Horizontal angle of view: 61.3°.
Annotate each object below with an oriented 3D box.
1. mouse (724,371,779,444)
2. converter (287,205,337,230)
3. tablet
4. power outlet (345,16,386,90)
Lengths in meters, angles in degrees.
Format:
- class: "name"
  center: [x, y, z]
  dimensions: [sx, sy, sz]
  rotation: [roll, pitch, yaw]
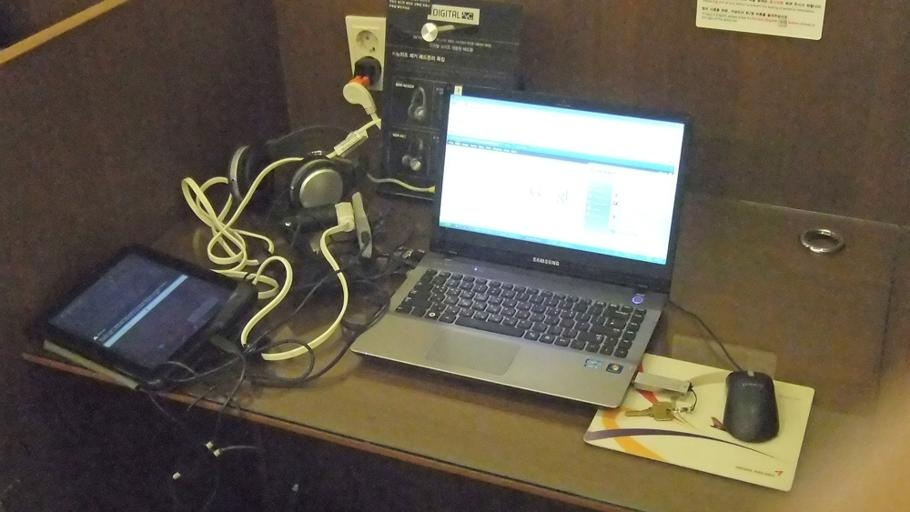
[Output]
- class: "mouse"
  center: [0.516, 0.261, 1.319]
  dimensions: [0.093, 0.052, 0.121]
  rotation: [11, 42, 9]
- class: "converter"
  center: [-0.288, -0.074, 1.551]
  dimensions: [0.094, 0.035, 0.049]
  rotation: [-2, 30, -3]
- class: "tablet"
  center: [-0.575, 0.118, 1.412]
  dimensions: [0.301, 0.065, 0.288]
  rotation: [28, 54, 17]
- class: "power outlet"
  center: [-0.182, -0.445, 1.694]
  dimensions: [0.090, 0.149, 0.091]
  rotation: [12, 31, 23]
